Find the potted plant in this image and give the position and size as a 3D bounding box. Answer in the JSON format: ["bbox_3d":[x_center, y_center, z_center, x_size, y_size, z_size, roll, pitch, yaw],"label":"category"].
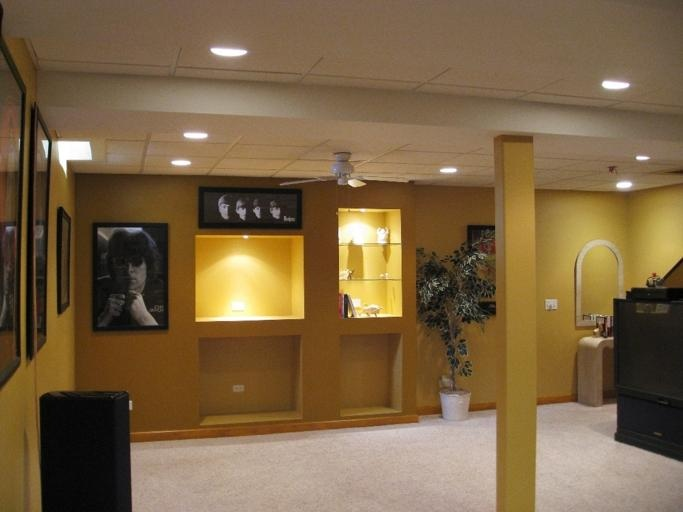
[{"bbox_3d":[1.521,0.872,7.239,1.058,2.427,0.714,0,1,6],"label":"potted plant"}]

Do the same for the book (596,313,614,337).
[{"bbox_3d":[3.761,0.999,7.830,0.197,0.281,0.228,1,1,22],"label":"book"}]

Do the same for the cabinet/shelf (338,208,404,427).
[{"bbox_3d":[0.380,0.689,7.046,0.810,2.568,0.544,0,1,-1],"label":"cabinet/shelf"}]

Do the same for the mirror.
[{"bbox_3d":[3.784,0.418,8.024,0.636,1.170,0.031,-1,11,20],"label":"mirror"}]

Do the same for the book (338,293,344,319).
[{"bbox_3d":[0.004,0.618,6.767,0.064,0.296,0.107,0,1,5],"label":"book"}]

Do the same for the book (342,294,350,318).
[{"bbox_3d":[0.060,0.629,6.801,0.095,0.270,0.273,0,-1,-2],"label":"book"}]

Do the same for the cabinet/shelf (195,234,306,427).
[{"bbox_3d":[-1.137,0.860,6.743,1.258,2.206,0.506,0,1,-16],"label":"cabinet/shelf"}]
